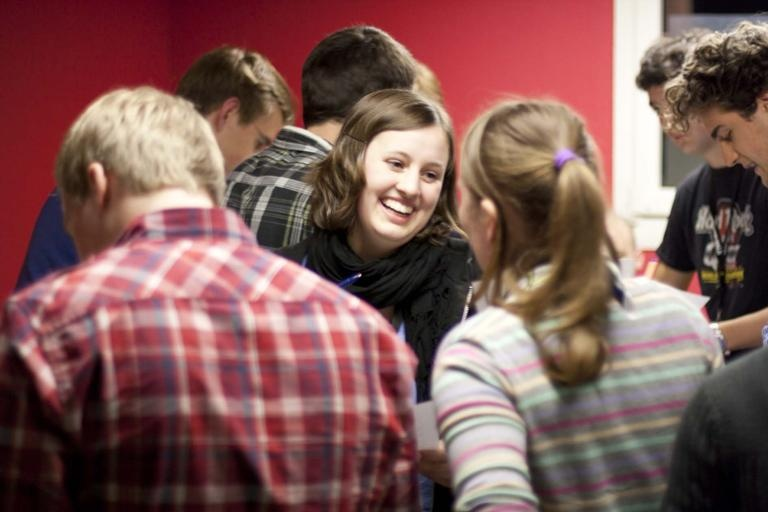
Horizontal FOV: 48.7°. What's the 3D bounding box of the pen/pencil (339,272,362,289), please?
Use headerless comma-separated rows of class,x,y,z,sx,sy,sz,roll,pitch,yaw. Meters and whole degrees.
pen/pencil,-0.093,0.070,2.427,0.060,0.026,0.011,-28,18,15
